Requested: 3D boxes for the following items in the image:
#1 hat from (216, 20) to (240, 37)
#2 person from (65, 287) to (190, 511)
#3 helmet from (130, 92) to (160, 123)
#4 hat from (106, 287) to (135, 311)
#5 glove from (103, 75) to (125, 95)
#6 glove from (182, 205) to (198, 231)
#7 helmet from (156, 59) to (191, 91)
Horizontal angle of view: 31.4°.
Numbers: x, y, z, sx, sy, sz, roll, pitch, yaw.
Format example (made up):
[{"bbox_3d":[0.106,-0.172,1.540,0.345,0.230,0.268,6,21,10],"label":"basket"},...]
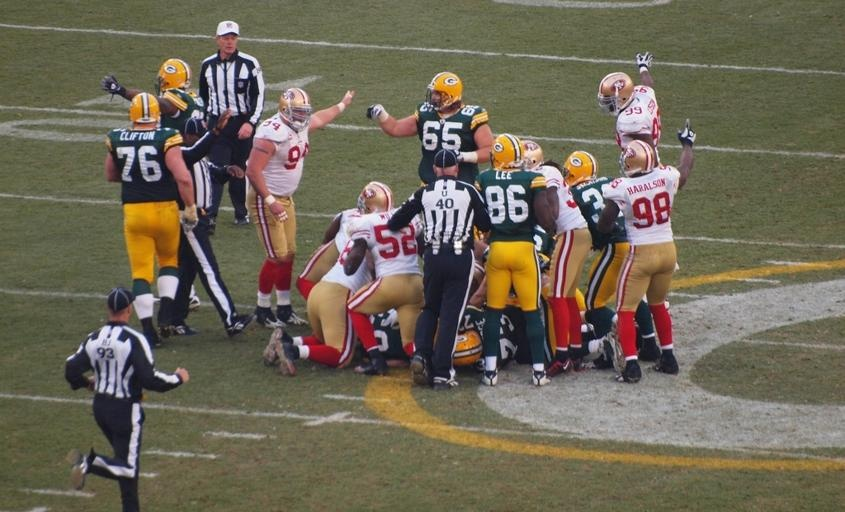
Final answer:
[{"bbox_3d":[-2.608,-3.072,20.096,0.247,0.193,0.214,-1,12,-15],"label":"hat"},{"bbox_3d":[-3.291,1.552,16.107,0.927,2.360,1.082,13,17,37],"label":"person"},{"bbox_3d":[-3.338,-1.801,18.043,0.358,0.302,0.408,-2,23,-12],"label":"helmet"},{"bbox_3d":[-3.268,0.460,16.188,0.239,0.164,0.280,3,37,-2],"label":"hat"},{"bbox_3d":[-4.010,-2.248,19.418,0.254,0.224,0.365,1,11,-5],"label":"glove"},{"bbox_3d":[-2.817,-0.477,18.308,0.249,0.260,0.108,15,20,25],"label":"glove"},{"bbox_3d":[-3.396,-2.469,20.171,0.568,0.424,0.405,5,9,16],"label":"helmet"}]
